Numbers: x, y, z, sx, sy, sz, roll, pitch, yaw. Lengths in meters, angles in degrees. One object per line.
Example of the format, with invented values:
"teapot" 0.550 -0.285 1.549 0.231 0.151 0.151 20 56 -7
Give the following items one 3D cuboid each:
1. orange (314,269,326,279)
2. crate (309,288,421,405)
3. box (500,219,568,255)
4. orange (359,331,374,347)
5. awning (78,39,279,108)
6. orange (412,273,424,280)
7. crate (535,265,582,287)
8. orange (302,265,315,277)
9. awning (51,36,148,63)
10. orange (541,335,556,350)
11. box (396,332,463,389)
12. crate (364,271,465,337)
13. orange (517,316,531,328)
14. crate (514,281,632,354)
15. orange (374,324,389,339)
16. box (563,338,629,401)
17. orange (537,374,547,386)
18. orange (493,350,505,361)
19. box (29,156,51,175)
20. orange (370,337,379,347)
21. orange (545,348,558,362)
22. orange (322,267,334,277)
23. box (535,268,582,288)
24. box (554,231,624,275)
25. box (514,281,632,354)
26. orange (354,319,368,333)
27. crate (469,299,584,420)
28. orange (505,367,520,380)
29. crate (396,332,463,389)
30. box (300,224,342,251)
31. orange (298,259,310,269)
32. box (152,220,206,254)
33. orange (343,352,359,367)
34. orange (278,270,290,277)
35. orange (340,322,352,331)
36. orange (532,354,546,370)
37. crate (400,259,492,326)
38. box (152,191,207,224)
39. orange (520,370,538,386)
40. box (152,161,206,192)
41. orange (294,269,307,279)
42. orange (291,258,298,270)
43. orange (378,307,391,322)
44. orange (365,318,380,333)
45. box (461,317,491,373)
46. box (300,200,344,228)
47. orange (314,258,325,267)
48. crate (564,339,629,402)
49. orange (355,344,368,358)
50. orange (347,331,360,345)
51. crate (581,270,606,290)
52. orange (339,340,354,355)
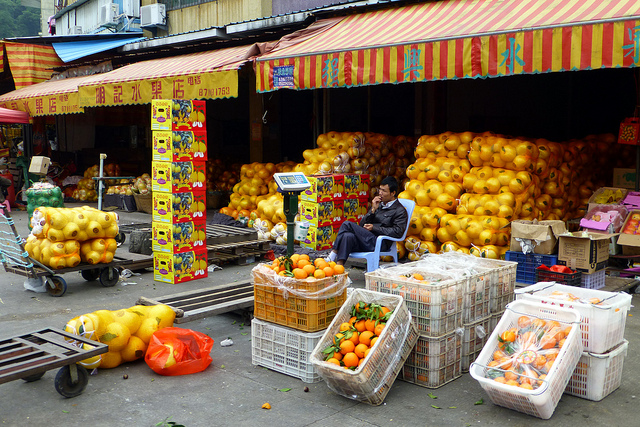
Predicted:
"orange" -0.008 0.680 5.859 0.084 0.102 0.085 -37 34 9
"crate" 0.493 1.434 5.550 0.709 1.052 1.018 12 15 43
"box" 3.582 0.342 8.559 0.742 0.446 0.908 -15 12 -43
"orange" 0.487 1.302 5.491 0.132 0.157 0.133 -5 16 -11
"awning" -4.060 -3.550 13.535 5.236 1.169 2.005 1 16 23
"orange" 1.137 0.723 5.924 0.078 0.059 0.057 24 14 -13
"crate" 3.491 0.932 7.688 0.532 0.213 0.339 9 9 42
"orange" -0.118 0.647 5.869 0.103 0.125 0.103 -16 4 -22
"awning" -7.671 -5.811 18.322 1.642 0.462 1.556 -28 24 -38
"orange" 2.301 1.296 5.230 0.122 0.150 0.124 -1 5 5
"box" 1.177 1.623 6.139 1.002 0.531 1.013 -1 -4 13
"crate" 1.140 0.993 5.662 0.700 0.432 0.707 3 8 31
"orange" 2.146 1.139 5.450 0.107 0.108 0.107 1 14 21
"crate" 2.739 1.007 5.614 0.728 0.489 0.930 -9 13 -42
"orange" 0.637 1.238 5.482 0.116 0.118 0.136 1 35 -12
"box" 2.919 1.654 5.484 0.651 0.409 0.499 -11 12 -43
"orange" 2.158 1.619 5.071 0.086 0.085 0.086 5 -20 -3
"orange" 1.845 1.454 5.339 0.094 0.097 0.115 9 38 15
"box" -6.672 -1.141 12.314 0.443 0.460 0.444 5 -7 -1
"orange" 0.561 1.333 5.410 0.078 0.094 0.079 18 -35 -11
"orange" 2.306 1.404 5.156 0.112 0.116 0.112 -4 3 -1
"orange" 0.096 0.663 5.905 0.091 0.097 0.109 8 0 -13
"box" 3.525 0.935 7.670 0.562 0.236 0.358 7 7 42
"box" 4.154 0.597 8.080 0.656 0.498 0.726 -4 11 -35
"box" 2.736 0.996 5.616 0.722 0.511 0.959 -10 14 -40
"orange" 0.435 1.206 5.570 0.110 0.133 0.107 3 15 36
"crate" 2.114 1.492 5.308 0.996 1.036 0.709 -9 15 -42
"orange" 1.916 1.602 5.170 0.118 0.114 0.119 0 14 -3
"crate" 1.245 1.643 6.029 0.871 0.441 0.898 -3 -6 -4
"box" -0.043 0.432 10.400 0.551 0.357 0.567 0 1 45
"orange" -0.183 0.584 6.037 0.098 0.099 0.114 -32 -16 9
"box" -2.453 0.341 8.874 0.646 0.404 0.626 -1 -1 -44
"orange" 0.322 1.514 5.369 0.129 0.153 0.131 1 12 2
"orange" -0.410 0.687 5.892 0.077 0.040 0.163 -5 13 -29
"orange" 0.278 1.223 5.618 0.078 0.092 0.078 9 -39 -38
"orange" 2.182 1.474 5.150 0.118 0.120 0.116 4 -14 -10
"crate" 1.563 0.857 6.148 0.730 0.448 0.723 -4 4 -43
"box" -2.452 -0.119 8.833 0.627 0.391 0.615 -1 0 -45
"orange" 2.060 1.602 5.164 0.134 0.137 0.163 18 20 28
"box" -2.384 -0.552 8.802 0.626 0.399 0.639 -1 3 -29
"orange" -0.217 0.684 5.839 0.098 0.100 0.098 3 13 12
"orange" -0.295 0.587 6.031 0.076 0.108 0.109 2 11 2
"orange" 0.700 1.092 5.582 0.122 0.145 0.123 -1 -3 30
"orange" 0.558 1.195 5.527 0.117 0.137 0.117 5 -7 -11
"box" 1.780 1.497 5.981 0.598 0.271 0.356 -17 20 -37
"box" 0.036 -0.012 10.433 0.606 0.384 0.614 -5 8 -33
"orange" 0.002 0.557 6.128 0.077 0.079 0.093 12 -36 -6
"crate" 2.944 1.665 5.522 0.648 0.402 0.496 -11 13 -42
"orange" 0.423 1.426 5.406 0.123 0.125 0.145 10 46 4
"orange" 0.360 1.329 5.549 0.100 0.123 0.102 0 -21 -3
"crate" 4.238 1.037 8.014 0.483 0.325 0.273 -6 3 -34
"orange" 0.278 1.407 5.475 0.128 0.135 0.156 7 -32 3
